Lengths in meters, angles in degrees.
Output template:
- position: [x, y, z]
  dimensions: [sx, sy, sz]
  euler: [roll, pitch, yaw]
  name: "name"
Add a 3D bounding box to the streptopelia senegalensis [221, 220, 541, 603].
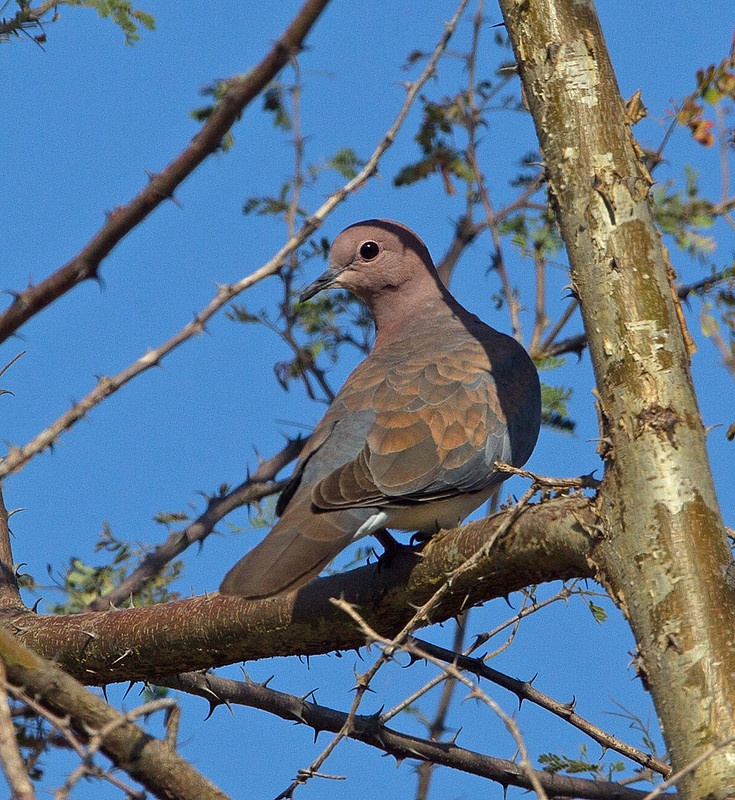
- position: [0.034, -0.017, 7.200]
  dimensions: [0.891, 1.283, 1.637]
  euler: [-3, 4, 30]
  name: "streptopelia senegalensis"
